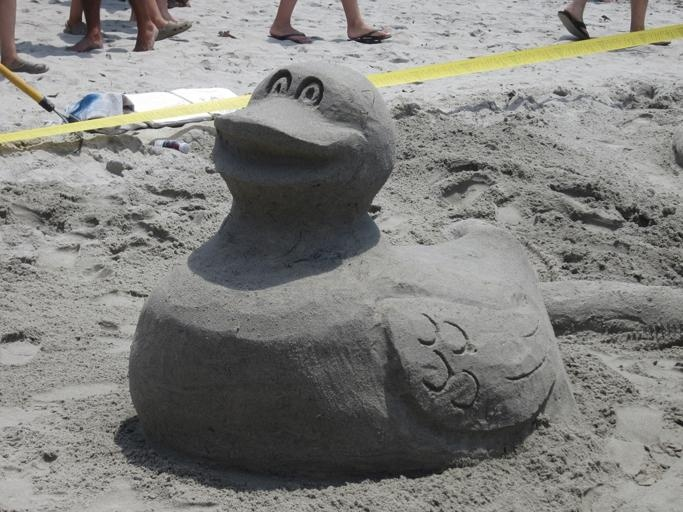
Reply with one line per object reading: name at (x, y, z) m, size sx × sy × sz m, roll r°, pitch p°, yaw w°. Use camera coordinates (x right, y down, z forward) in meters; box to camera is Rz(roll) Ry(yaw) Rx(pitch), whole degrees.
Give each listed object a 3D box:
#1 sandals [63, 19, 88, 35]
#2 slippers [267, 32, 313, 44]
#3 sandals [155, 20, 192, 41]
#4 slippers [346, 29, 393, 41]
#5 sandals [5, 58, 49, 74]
sandals at (-2.241, -1.927, 11.862) m, size 0.220 × 0.077 × 0.093 m, roll 1°, pitch 68°, yaw -4°
slippers at (-0.465, -1.884, 12.086) m, size 0.324 × 0.071 × 0.114 m, roll 3°, pitch 16°, yaw 2°
sandals at (-1.423, -1.902, 11.767) m, size 0.326 × 0.099 × 0.148 m, roll -13°, pitch 13°, yaw -1°
slippers at (0.251, -1.899, 12.072) m, size 0.352 × 0.105 × 0.143 m, roll 1°, pitch 25°, yaw 0°
sandals at (-2.367, -1.426, 10.590) m, size 0.327 × 0.111 × 0.101 m, roll -2°, pitch 43°, yaw -18°
